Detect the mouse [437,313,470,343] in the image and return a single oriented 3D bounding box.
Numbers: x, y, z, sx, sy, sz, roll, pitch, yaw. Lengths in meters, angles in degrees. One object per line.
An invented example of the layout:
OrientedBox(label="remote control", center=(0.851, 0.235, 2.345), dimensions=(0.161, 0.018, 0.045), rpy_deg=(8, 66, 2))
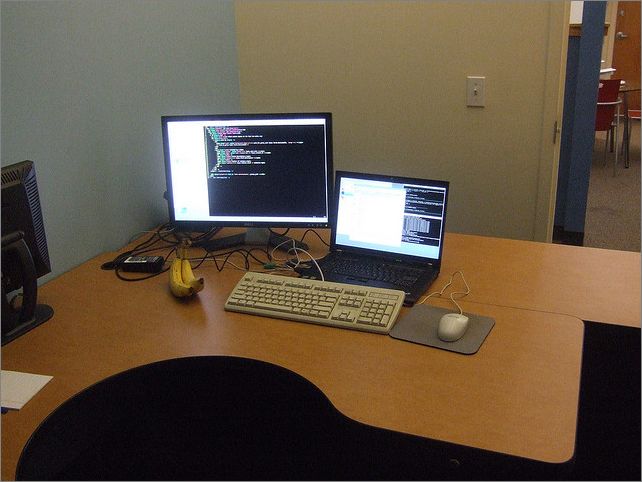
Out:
OrientedBox(label="mouse", center=(0.417, 0.265, 1.616), dimensions=(0.077, 0.056, 0.129), rpy_deg=(15, 25, 32))

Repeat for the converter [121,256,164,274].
OrientedBox(label="converter", center=(-0.713, 0.082, 2.049), dimensions=(0.129, 0.050, 0.079), rpy_deg=(4, 25, 4))

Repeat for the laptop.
OrientedBox(label="laptop", center=(0.244, -0.055, 1.971), dimensions=(0.522, 0.444, 0.484), rpy_deg=(11, 29, 23))
